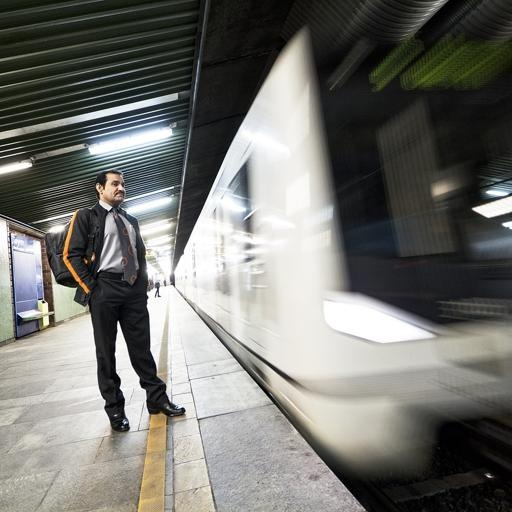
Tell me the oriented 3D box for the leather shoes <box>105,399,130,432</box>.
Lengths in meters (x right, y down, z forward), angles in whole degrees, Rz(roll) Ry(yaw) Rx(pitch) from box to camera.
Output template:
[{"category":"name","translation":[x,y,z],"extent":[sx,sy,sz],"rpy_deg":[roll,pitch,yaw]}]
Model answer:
[{"category":"leather shoes","translation":[-1.067,1.270,2.695],"extent":[0.105,0.135,0.323],"rpy_deg":[0,-10,-33]}]

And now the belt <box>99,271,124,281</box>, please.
[{"category":"belt","translation":[-1.080,0.148,2.609],"extent":[0.171,0.053,0.031],"rpy_deg":[-4,-2,-25]}]

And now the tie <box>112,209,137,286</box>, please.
[{"category":"tie","translation":[-0.990,-0.041,2.683],"extent":[0.121,0.759,0.036],"rpy_deg":[3,-32,-29]}]

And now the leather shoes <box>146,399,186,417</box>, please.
[{"category":"leather shoes","translation":[-0.718,1.258,2.881],"extent":[0.374,0.162,0.131],"rpy_deg":[0,-6,0]}]

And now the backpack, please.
[{"category":"backpack","translation":[-1.361,-0.051,2.686],"extent":[0.337,0.574,0.400],"rpy_deg":[-4,-15,-8]}]
